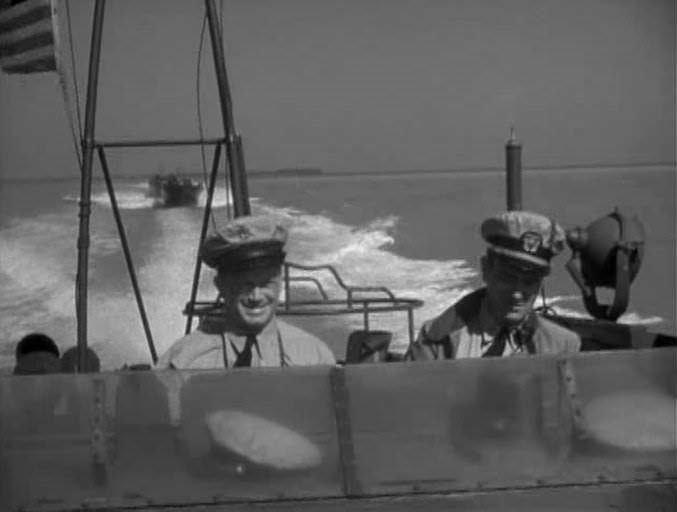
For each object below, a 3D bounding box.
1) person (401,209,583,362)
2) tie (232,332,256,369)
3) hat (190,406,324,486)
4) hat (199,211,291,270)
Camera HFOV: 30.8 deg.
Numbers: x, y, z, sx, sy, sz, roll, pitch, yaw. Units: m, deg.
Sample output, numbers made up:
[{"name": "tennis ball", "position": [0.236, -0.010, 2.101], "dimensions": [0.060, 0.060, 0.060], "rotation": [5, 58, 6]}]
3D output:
[{"name": "person", "position": [0.575, 0.140, 4.750], "dimensions": [0.690, 0.686, 0.496], "rotation": [3, -4, -3]}, {"name": "tie", "position": [-0.352, 0.334, 4.526], "dimensions": [0.066, 0.184, 0.042], "rotation": [5, 26, -14]}, {"name": "hat", "position": [-0.281, 0.683, 4.460], "dimensions": [0.397, 0.240, 0.135], "rotation": [19, -9, -3]}, {"name": "hat", "position": [-0.379, -0.045, 4.601], "dimensions": [0.442, 0.182, 0.405], "rotation": [-2, 9, -25]}]
